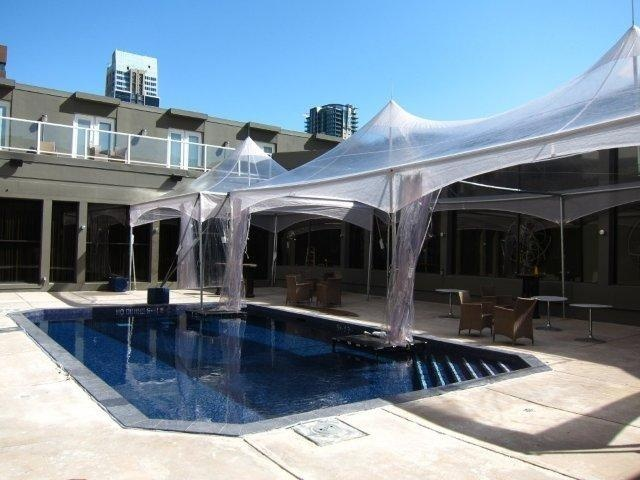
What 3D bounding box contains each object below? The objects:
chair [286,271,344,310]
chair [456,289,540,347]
[{"bbox_3d":[-0.262,1.379,13.607,0.950,0.708,1.264,3,-6,-33],"label":"chair"},{"bbox_3d":[3.287,1.382,9.275,0.811,0.976,1.488,3,-1,-36],"label":"chair"}]
